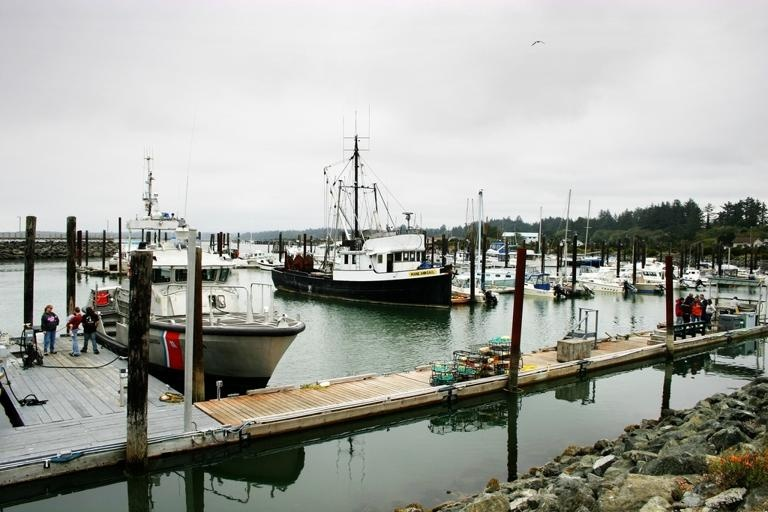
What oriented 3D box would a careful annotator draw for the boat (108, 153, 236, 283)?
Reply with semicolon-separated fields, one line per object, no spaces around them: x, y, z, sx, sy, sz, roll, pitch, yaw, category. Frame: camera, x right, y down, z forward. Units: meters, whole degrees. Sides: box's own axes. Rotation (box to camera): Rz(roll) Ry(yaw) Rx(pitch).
-8.072;-1.267;29.076;5.074;3.829;1.520;6;-3;-29;boat

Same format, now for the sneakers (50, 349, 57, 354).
-12.121;3.492;28.121;0.372;0.153;0.136;-7;-3;37;sneakers

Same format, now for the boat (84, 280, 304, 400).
-7.649;3.029;29.006;10.210;3.323;3.417;4;7;44;boat

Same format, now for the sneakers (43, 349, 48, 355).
-12.286;3.470;27.902;0.175;0.192;0.255;-2;1;-23;sneakers

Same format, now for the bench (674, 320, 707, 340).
13.643;3.281;34.351;1.879;0.676;0.597;-2;1;-27;bench
